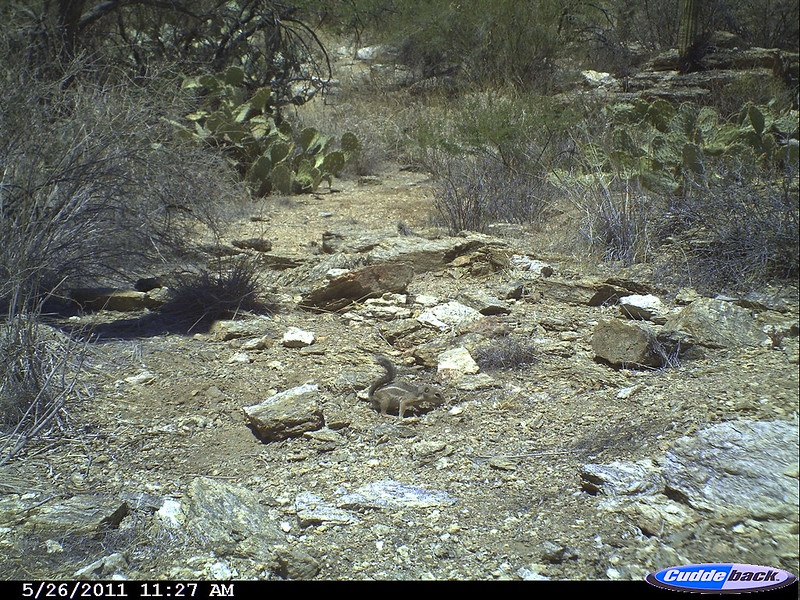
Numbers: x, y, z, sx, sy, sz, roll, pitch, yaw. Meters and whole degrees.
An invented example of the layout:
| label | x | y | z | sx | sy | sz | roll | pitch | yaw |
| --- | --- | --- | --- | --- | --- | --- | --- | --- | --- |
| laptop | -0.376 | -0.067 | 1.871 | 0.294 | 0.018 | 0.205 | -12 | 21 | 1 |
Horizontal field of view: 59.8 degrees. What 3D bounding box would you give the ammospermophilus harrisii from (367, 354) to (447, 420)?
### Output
| label | x | y | z | sx | sy | sz | roll | pitch | yaw |
| --- | --- | --- | --- | --- | --- | --- | --- | --- | --- |
| ammospermophilus harrisii | 0.102 | 0.420 | 3.194 | 0.475 | 0.315 | 0.172 | 1 | -25 | 13 |
